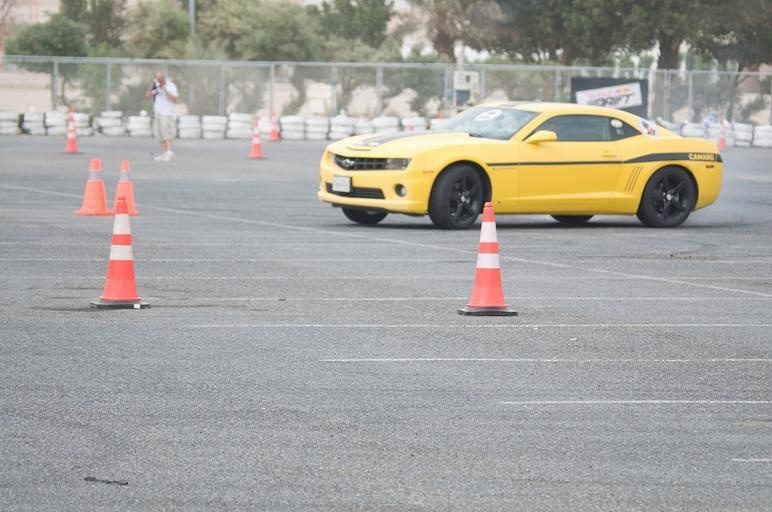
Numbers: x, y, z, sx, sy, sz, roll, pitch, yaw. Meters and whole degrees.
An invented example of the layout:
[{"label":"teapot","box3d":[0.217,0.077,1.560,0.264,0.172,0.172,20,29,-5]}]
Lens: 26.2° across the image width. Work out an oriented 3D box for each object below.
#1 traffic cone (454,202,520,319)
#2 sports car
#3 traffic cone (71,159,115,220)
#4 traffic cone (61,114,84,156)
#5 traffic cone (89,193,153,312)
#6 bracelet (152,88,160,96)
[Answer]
[{"label":"traffic cone","box3d":[1.183,0.025,19.793,0.725,1.311,0.727,0,5,-2]},{"label":"sports car","box3d":[2.268,-1.491,26.345,6.061,1.658,2.767,-1,9,-24]},{"label":"traffic cone","box3d":[-4.576,-1.053,25.920,0.598,0.923,0.622,0,4,-10]},{"label":"traffic cone","box3d":[-7.260,-2.871,38.050,0.763,0.922,0.782,3,9,-7]},{"label":"traffic cone","box3d":[-3.175,-0.070,19.899,0.710,1.324,0.707,0,3,-9]},{"label":"bracelet","box3d":[-4.744,-3.439,34.174,0.121,0.146,0.158,2,12,4]}]
